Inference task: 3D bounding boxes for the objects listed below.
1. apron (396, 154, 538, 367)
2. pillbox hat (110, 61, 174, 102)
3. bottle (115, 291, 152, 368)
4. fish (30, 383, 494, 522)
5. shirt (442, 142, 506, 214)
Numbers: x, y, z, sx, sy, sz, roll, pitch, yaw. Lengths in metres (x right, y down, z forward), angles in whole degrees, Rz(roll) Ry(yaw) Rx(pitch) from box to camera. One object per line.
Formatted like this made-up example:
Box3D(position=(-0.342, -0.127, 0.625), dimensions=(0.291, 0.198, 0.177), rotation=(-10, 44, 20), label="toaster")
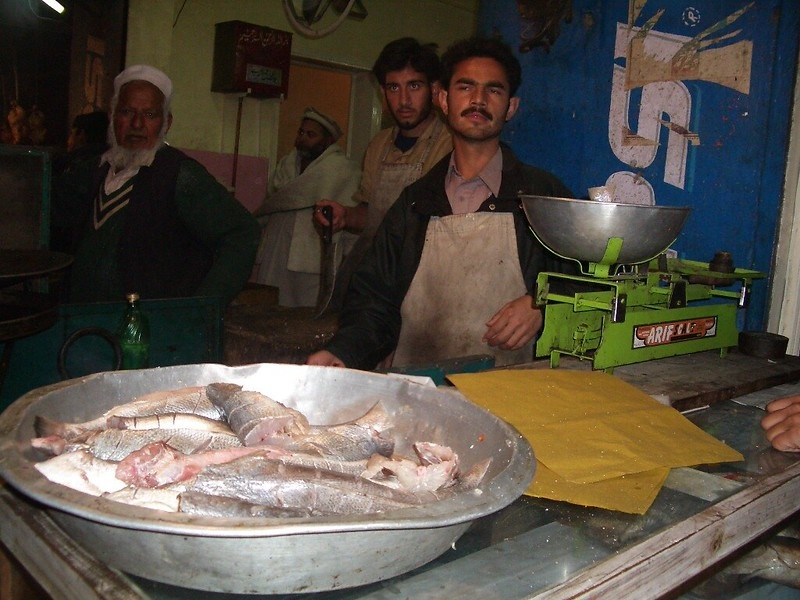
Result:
Box3D(position=(0.290, -0.030, 3.037), dimensions=(0.576, 0.735, 0.168), rotation=(5, 7, -1), label="apron")
Box3D(position=(-1.465, -1.225, 3.716), dimensions=(0.265, 0.076, 0.238), rotation=(13, -9, 23), label="pillbox hat")
Box3D(position=(-0.998, 0.128, 2.473), dimensions=(0.107, 0.291, 0.243), rotation=(3, 6, -22), label="bottle")
Box3D(position=(-0.314, 0.332, 1.410), dimensions=(0.615, 0.089, 0.341), rotation=(5, 9, -14), label="fish")
Box3D(position=(0.373, -0.585, 3.246), dimensions=(0.278, 0.334, 0.196), rotation=(9, 15, 28), label="shirt")
